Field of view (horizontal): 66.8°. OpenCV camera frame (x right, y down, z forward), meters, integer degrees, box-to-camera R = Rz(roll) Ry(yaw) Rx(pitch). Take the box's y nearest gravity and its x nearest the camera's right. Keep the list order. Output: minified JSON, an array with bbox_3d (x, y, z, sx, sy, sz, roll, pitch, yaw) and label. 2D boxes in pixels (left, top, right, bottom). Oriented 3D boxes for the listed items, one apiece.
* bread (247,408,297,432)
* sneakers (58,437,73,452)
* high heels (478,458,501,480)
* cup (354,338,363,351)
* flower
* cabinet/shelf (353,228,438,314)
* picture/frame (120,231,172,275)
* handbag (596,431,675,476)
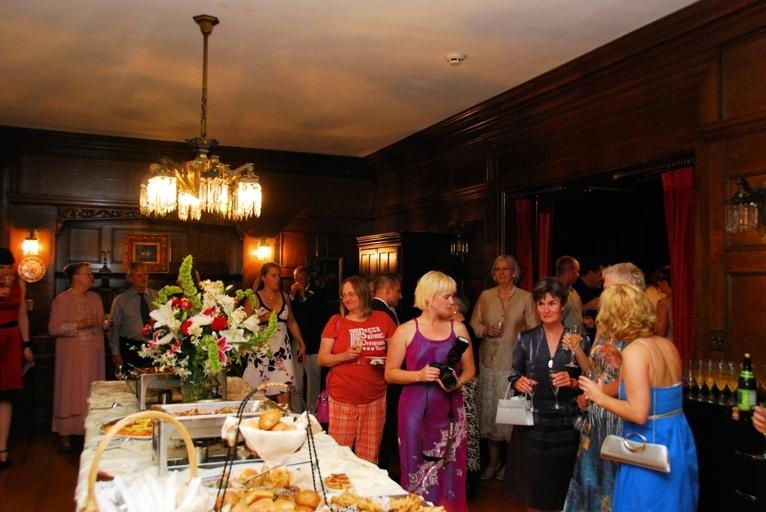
[{"bbox_3d":[-0.606,0.898,3.170,0.150,0.088,0.193,9,-9,-21],"label":"bread"},{"bbox_3d":[-3.774,2.249,6.953,0.090,0.114,0.273,7,-16,-31],"label":"sneakers"},{"bbox_3d":[1.156,2.308,6.231,0.110,0.120,0.303,-13,-19,40],"label":"high heels"},{"bbox_3d":[-0.201,0.757,4.960,0.065,0.088,0.081,1,-2,0],"label":"cup"},{"bbox_3d":[-1.298,0.623,4.589,1.029,1.131,1.108,-4,-16,42],"label":"flower"},{"bbox_3d":[0.076,0.217,7.892,0.413,0.874,0.850,0,-4,-44],"label":"cabinet/shelf"},{"bbox_3d":[-3.464,-0.045,8.462,0.651,0.629,0.061,1,-4,-20],"label":"picture/frame"},{"bbox_3d":[1.634,1.267,3.780,0.397,0.191,0.087,0,-2,27],"label":"handbag"}]
